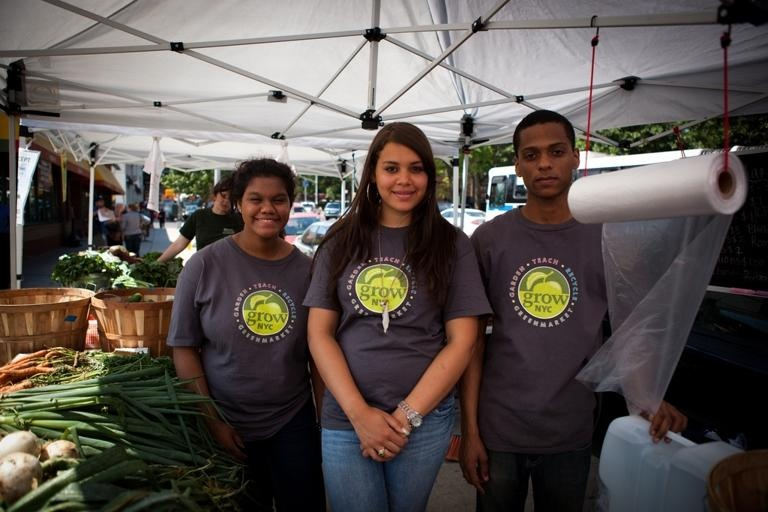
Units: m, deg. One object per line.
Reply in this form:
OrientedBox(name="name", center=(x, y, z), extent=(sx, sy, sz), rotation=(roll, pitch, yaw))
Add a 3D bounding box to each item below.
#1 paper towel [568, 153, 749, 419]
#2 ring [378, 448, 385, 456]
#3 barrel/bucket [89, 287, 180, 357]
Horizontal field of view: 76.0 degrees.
OrientedBox(name="paper towel", center=(1.267, 0.203, 2.342), extent=(0.682, 1.302, 0.710), rotation=(4, 8, 36))
OrientedBox(name="ring", center=(-0.017, 0.962, 2.417), extent=(0.038, 0.045, 0.010), rotation=(18, 8, 6))
OrientedBox(name="barrel/bucket", center=(-1.948, 0.474, 3.828), extent=(0.679, 0.442, 0.617), rotation=(0, 1, 0))
